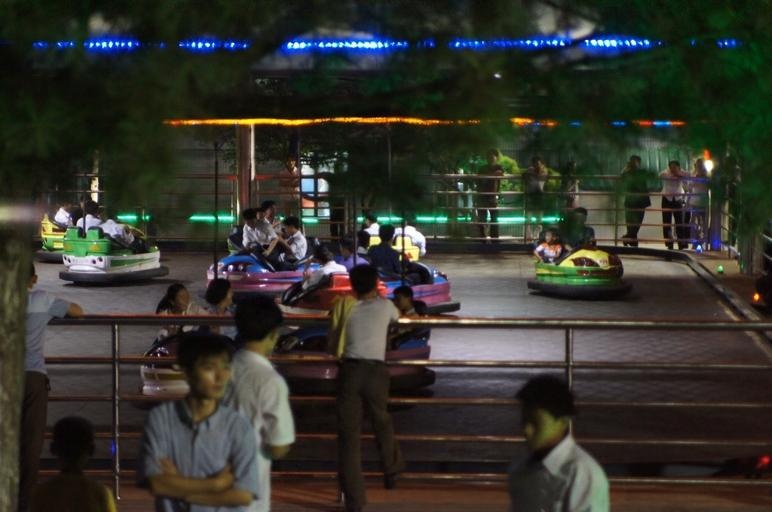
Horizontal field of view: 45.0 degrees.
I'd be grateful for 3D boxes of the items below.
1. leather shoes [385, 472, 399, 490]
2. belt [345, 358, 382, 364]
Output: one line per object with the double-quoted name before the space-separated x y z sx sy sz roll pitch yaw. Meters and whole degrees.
"leather shoes" 0.029 1.624 6.750 0.097 0.115 0.121 4 -12 -3
"belt" -0.165 0.761 6.754 0.267 0.048 0.043 -1 2 -4
